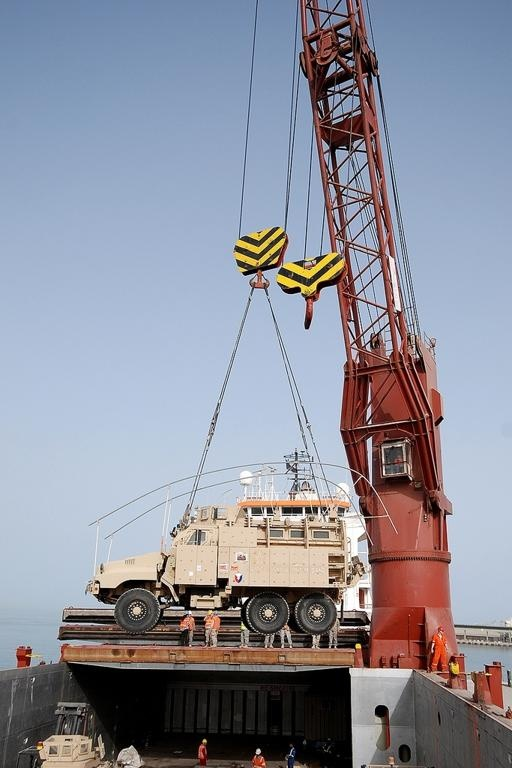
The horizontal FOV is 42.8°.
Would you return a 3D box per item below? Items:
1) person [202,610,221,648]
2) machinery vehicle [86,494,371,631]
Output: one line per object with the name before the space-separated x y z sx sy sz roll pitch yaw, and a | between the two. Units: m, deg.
person | -1.149 6.260 16.723 0.334 0.839 0.818 2 -19 -3
machinery vehicle | -0.838 5.894 19.870 7.628 3.948 3.281 4 -23 -11
